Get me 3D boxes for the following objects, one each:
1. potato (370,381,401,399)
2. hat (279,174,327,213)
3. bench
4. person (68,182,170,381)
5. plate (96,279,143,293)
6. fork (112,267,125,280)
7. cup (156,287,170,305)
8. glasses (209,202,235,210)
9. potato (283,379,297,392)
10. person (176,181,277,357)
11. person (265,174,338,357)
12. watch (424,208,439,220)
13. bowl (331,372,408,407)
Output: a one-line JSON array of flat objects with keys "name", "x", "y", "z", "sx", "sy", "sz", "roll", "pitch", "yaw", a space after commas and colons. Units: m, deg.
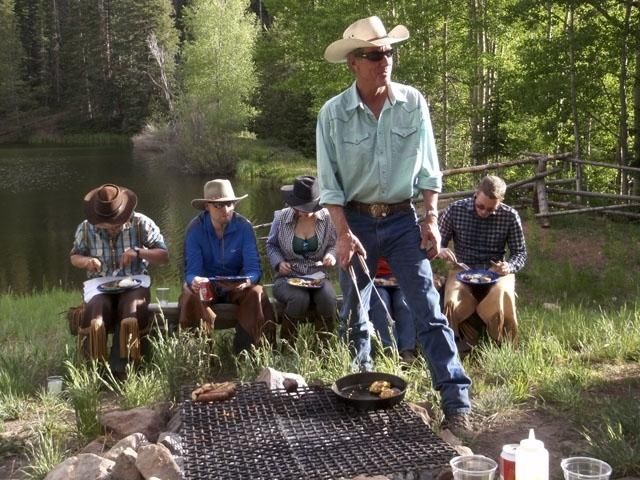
[{"name": "potato", "x": 0.574, "y": 1.370, "z": 6.789, "sx": 0.182, "sy": 0.053, "sz": 0.150, "roll": 13, "pitch": 11, "yaw": 15}, {"name": "hat", "x": -0.240, "y": -0.552, "z": 9.263, "sx": 0.422, "sy": 0.496, "sz": 0.297, "roll": -6, "pitch": 14, "yaw": -25}, {"name": "bench", "x": -1.604, "y": 0.679, "z": 8.917, "sx": 2.259, "sy": 0.521, "sz": 0.413, "roll": 0, "pitch": 6, "yaw": -10}, {"name": "person", "x": -2.408, "y": 0.389, "z": 8.805, "sx": 1.065, "sy": 2.079, "sz": 1.116, "roll": -1, "pitch": 5, "yaw": -23}, {"name": "plate", "x": -2.348, "y": 0.532, "z": 8.682, "sx": 0.491, "sy": 0.146, "sz": 0.283, "roll": 0, "pitch": 4, "yaw": -19}, {"name": "fork", "x": -2.455, "y": 0.412, "z": 9.005, "sx": 0.064, "sy": 0.053, "sz": 0.283, "roll": 19, "pitch": -32, "yaw": -20}, {"name": "cup", "x": -1.957, "y": 0.699, "z": 9.248, "sx": 0.179, "sy": 0.212, "sz": 0.176, "roll": 0, "pitch": -6, "yaw": 0}, {"name": "glasses", "x": -1.177, "y": -0.425, "z": 8.930, "sx": 0.291, "sy": 0.094, "sz": 0.152, "roll": 0, "pitch": 4, "yaw": -20}, {"name": "potato", "x": -0.286, "y": 1.407, "z": 7.189, "sx": 0.080, "sy": 0.108, "sz": 0.039, "roll": 8, "pitch": -38, "yaw": -14}, {"name": "person", "x": -1.139, "y": 0.327, "z": 8.950, "sx": 0.849, "sy": 2.279, "sz": 0.973, "roll": 0, "pitch": 1, "yaw": -17}, {"name": "person", "x": -0.227, "y": 0.225, "z": 9.184, "sx": 0.714, "sy": 1.993, "sz": 0.935, "roll": 0, "pitch": 1, "yaw": -2}, {"name": "watch", "x": 1.071, "y": -0.257, "z": 7.147, "sx": 0.103, "sy": 0.110, "sz": 0.108, "roll": -12, "pitch": 9, "yaw": -3}, {"name": "bowl", "x": 0.449, "y": 1.388, "z": 6.842, "sx": 0.591, "sy": 0.191, "sz": 0.647, "roll": -1, "pitch": 8, "yaw": 0}]
